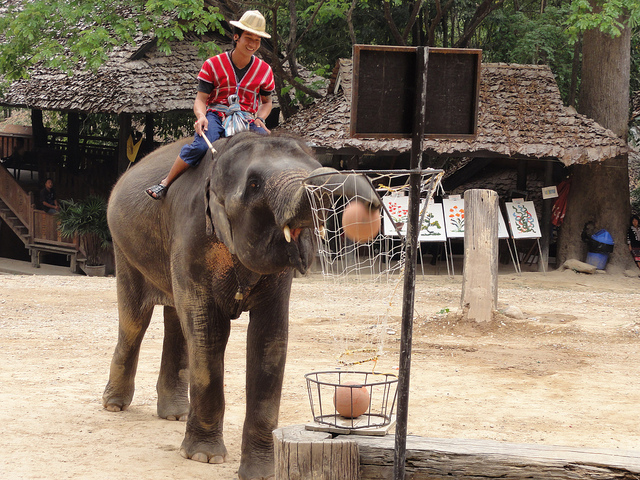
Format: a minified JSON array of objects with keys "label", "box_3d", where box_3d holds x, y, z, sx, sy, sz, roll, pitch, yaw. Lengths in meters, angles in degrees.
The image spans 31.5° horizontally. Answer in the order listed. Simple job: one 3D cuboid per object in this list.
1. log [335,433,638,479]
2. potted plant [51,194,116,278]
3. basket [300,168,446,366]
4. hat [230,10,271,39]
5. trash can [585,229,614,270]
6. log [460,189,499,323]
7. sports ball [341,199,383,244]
[{"label":"log","box_3d":[1.832,2.322,12.065,3.000,0.444,0.271,0,6,5]},{"label":"potted plant","box_3d":[-5.025,-0.060,24.046,1.756,1.753,1.467,-2,2,-2]},{"label":"basket","box_3d":[0.530,0.278,12.620,1.824,2.176,1.845,-3,-3,24]},{"label":"hat","box_3d":[-0.800,-2.467,13.102,0.338,0.157,0.343,32,13,5]},{"label":"trash can","box_3d":[6.159,0.212,24.766,0.574,0.932,0.609,12,1,-3]},{"label":"log","box_3d":[2.566,0.254,18.064,0.574,2.129,0.455,0,6,4]},{"label":"sports ball","box_3d":[0.375,-0.197,11.787,0.433,0.493,0.417,1,4,0]}]
